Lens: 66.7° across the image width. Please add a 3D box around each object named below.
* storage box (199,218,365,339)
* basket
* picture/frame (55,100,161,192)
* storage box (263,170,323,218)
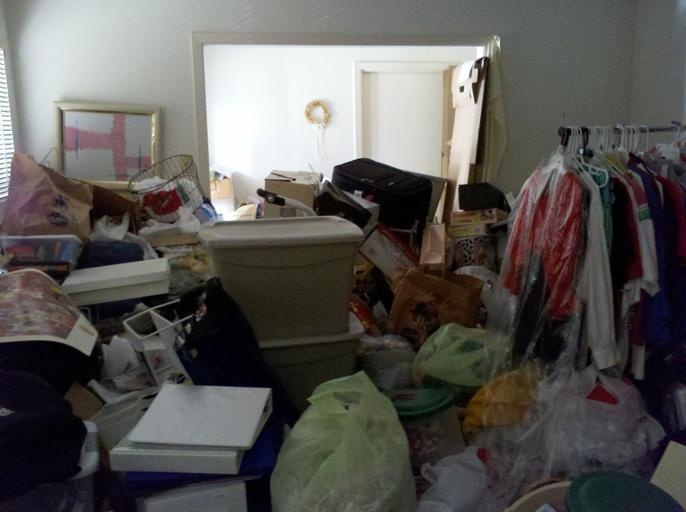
[{"bbox_3d":[-0.265,0.042,2.393,0.801,0.552,0.491,-3,26,-5],"label":"storage box"},{"bbox_3d":[-1.340,-0.538,4.024,0.529,0.411,0.872,-9,17,-16],"label":"basket"},{"bbox_3d":[-1.912,-0.895,4.159,0.772,0.725,0.057,3,-1,-6],"label":"picture/frame"},{"bbox_3d":[-0.401,-0.540,3.956,0.407,0.395,0.419,6,8,11],"label":"storage box"}]
